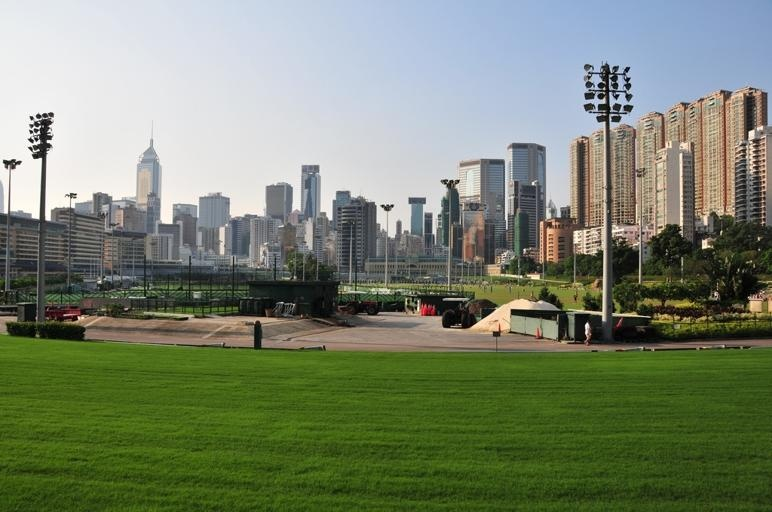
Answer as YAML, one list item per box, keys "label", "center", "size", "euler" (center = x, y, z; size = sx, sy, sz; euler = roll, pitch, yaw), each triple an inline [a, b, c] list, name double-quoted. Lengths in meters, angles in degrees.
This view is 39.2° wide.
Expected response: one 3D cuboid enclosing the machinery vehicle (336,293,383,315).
- label: "machinery vehicle"
  center: [-4.089, 7.572, 163.387]
  size: [5.644, 2.444, 3.064]
  euler: [0, 2, 1]
